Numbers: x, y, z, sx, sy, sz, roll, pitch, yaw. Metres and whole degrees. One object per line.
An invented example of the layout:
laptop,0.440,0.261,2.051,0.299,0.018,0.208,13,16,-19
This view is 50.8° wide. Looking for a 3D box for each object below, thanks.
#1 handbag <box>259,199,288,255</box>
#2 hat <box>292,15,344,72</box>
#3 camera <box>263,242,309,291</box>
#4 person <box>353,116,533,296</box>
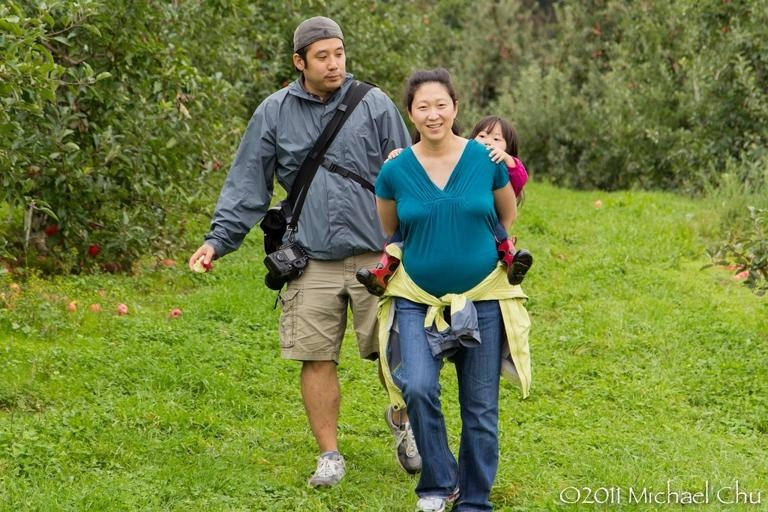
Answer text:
handbag,-0.813,-0.223,6.058,0.141,0.352,0.254,24,-7,-18
hat,-0.536,-1.653,6.141,0.328,0.211,0.332,-16,-17,-4
camera,-0.707,0.031,5.975,0.348,0.202,0.257,-19,61,-44
person,0.342,-0.328,5.512,1.292,1.281,0.726,-1,0,39
